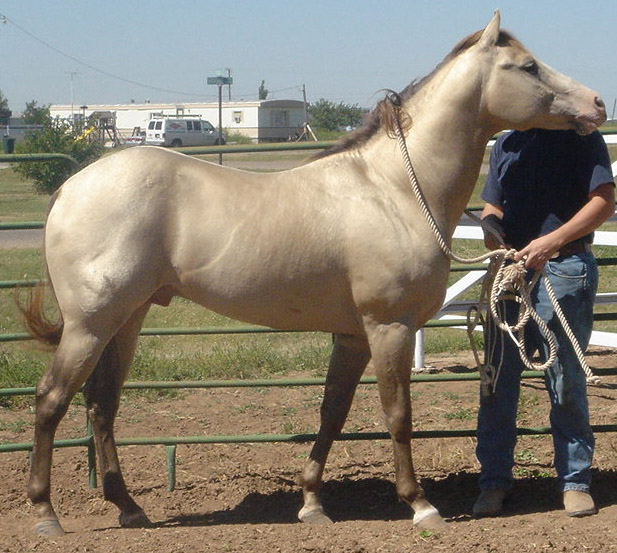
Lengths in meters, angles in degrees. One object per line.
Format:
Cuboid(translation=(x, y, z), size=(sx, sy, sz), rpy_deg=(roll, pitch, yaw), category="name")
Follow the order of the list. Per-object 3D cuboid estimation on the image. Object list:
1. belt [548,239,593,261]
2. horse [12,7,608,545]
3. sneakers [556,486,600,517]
Cuboid(translation=(1.346, -0.142, 5.336), size=(0.150, 0.052, 0.124), rpy_deg=(-24, 1, -1), category="belt")
Cuboid(translation=(0.151, 0.035, 5.305), size=(3.203, 2.285, 0.742), rpy_deg=(-2, 3, -5), category="horse")
Cuboid(translation=(1.386, 1.160, 5.383), size=(0.130, 0.102, 0.259), rpy_deg=(-2, -8, 1), category="sneakers")
